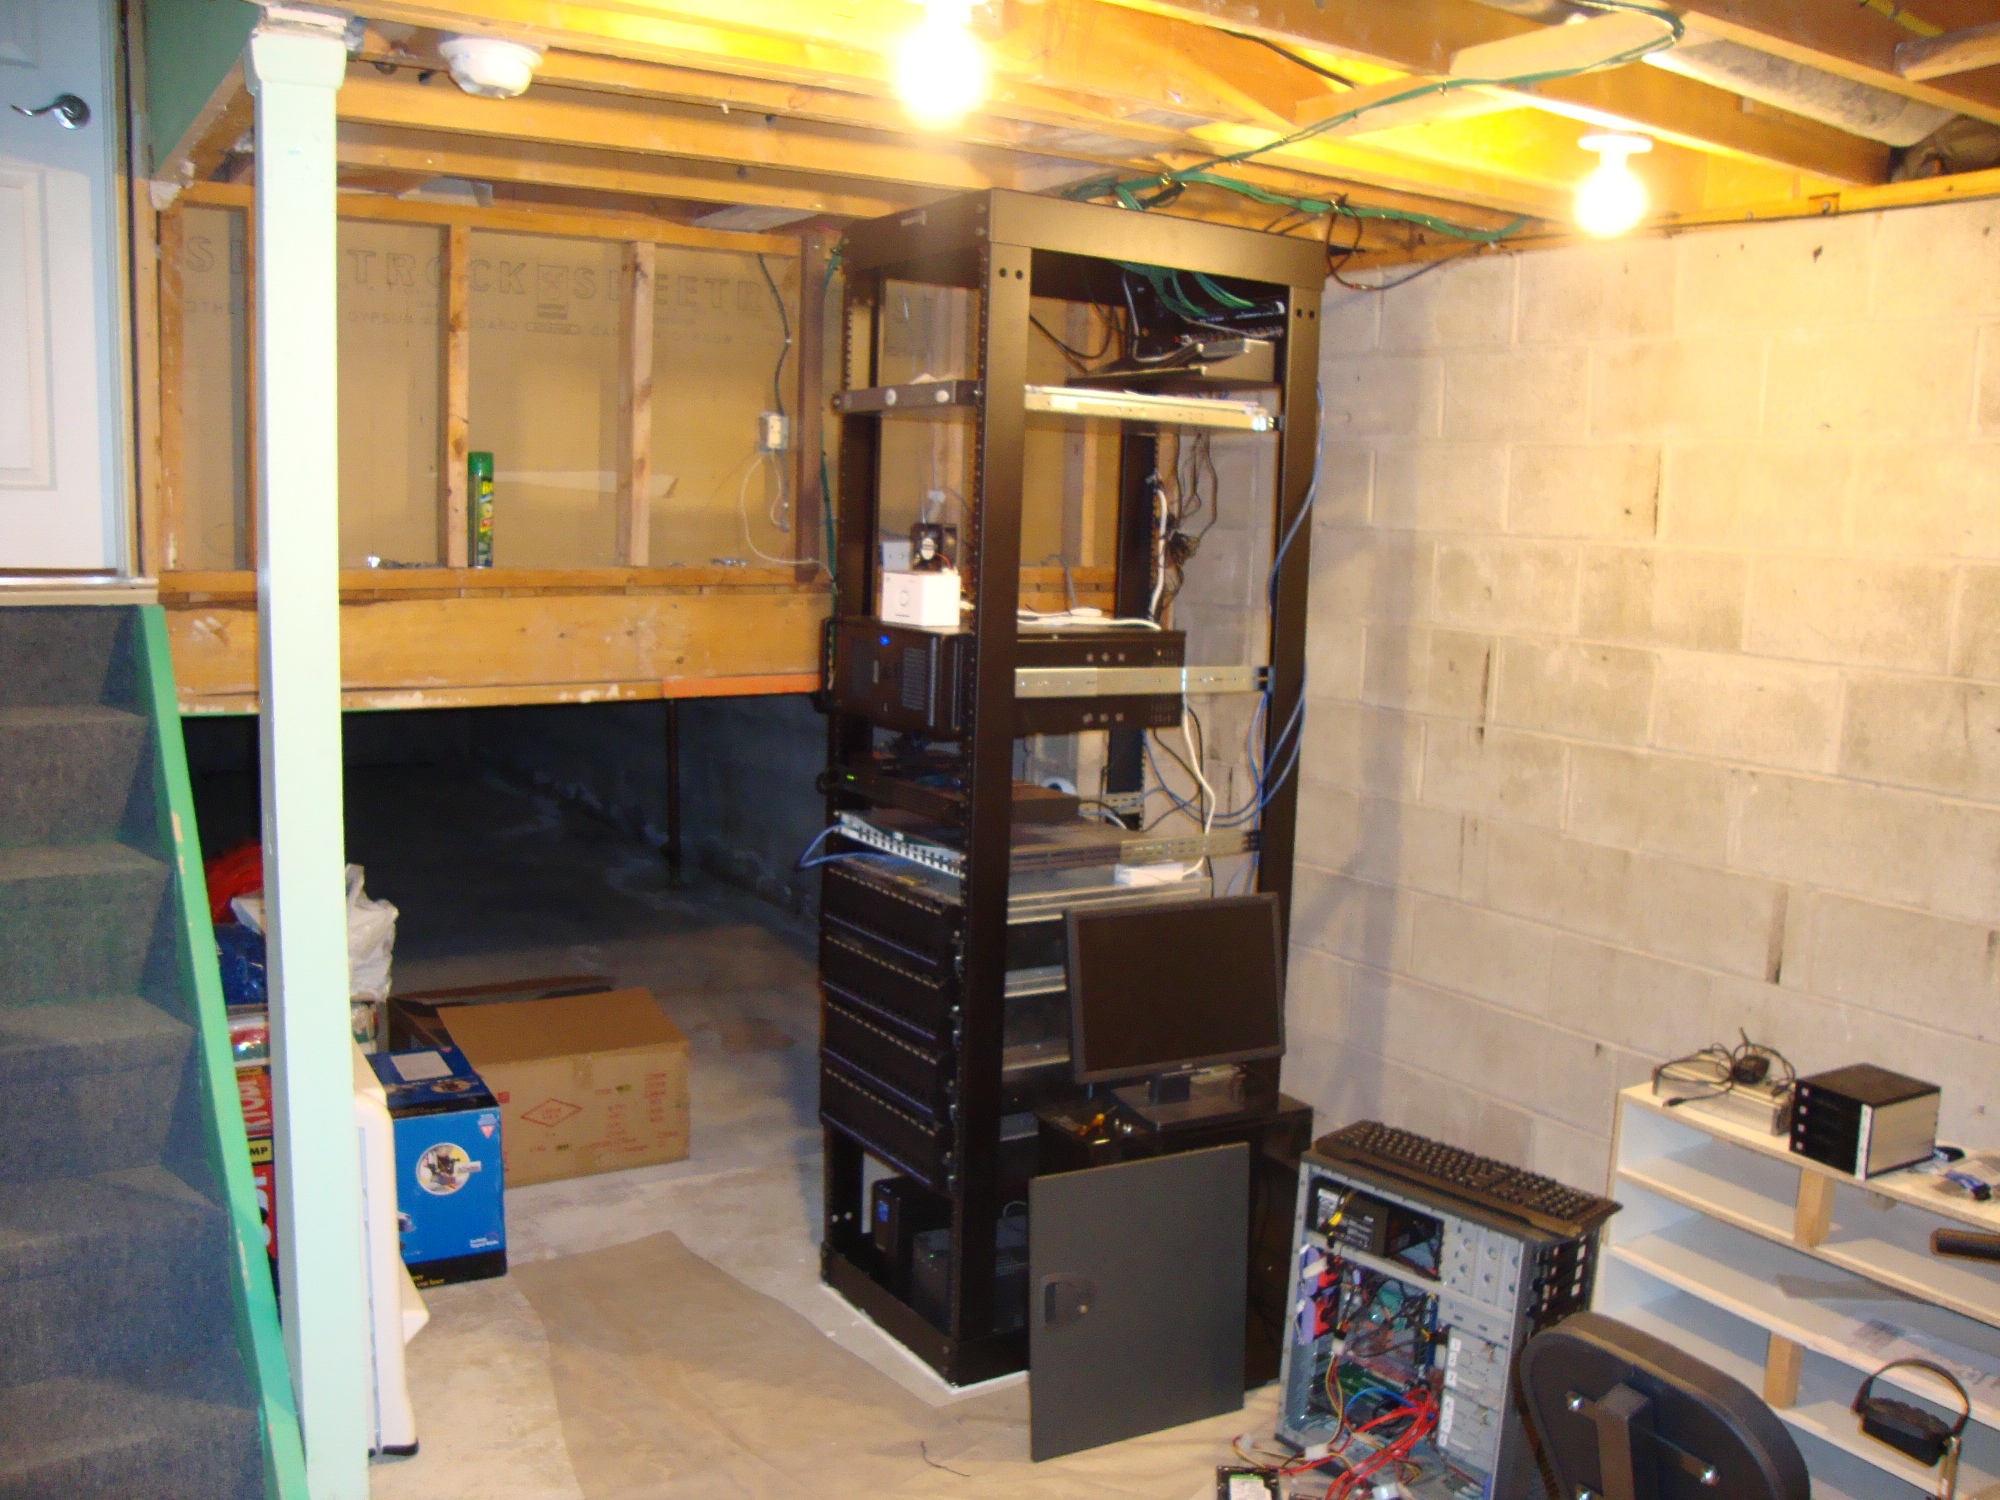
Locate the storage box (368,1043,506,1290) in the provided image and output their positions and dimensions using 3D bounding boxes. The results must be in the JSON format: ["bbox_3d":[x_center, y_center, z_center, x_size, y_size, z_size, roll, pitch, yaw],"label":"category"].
[{"bbox_3d":[-1.577,1.189,4.594,0.314,0.533,0.410,-5,15,-20],"label":"storage box"}]

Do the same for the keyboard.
[{"bbox_3d":[1.089,1.014,3.795,0.630,0.042,0.283,11,11,35],"label":"keyboard"}]

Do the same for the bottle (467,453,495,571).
[{"bbox_3d":[-1.530,-0.714,4.695,0.066,0.323,0.143,-2,14,-7],"label":"bottle"}]

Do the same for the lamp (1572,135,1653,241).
[{"bbox_3d":[1.479,-1.394,3.927,0.190,0.195,0.639,5,14,20],"label":"lamp"}]

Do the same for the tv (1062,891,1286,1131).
[{"bbox_3d":[0.407,0.642,3.979,0.636,0.520,0.139,-1,3,-26],"label":"tv"}]

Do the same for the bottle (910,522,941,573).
[{"bbox_3d":[-0.192,-0.521,4.046,0.070,0.113,0.133,-3,13,-9],"label":"bottle"}]

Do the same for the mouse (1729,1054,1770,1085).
[{"bbox_3d":[1.742,0.751,3.785,0.098,0.089,0.055,1,7,-18],"label":"mouse"}]
